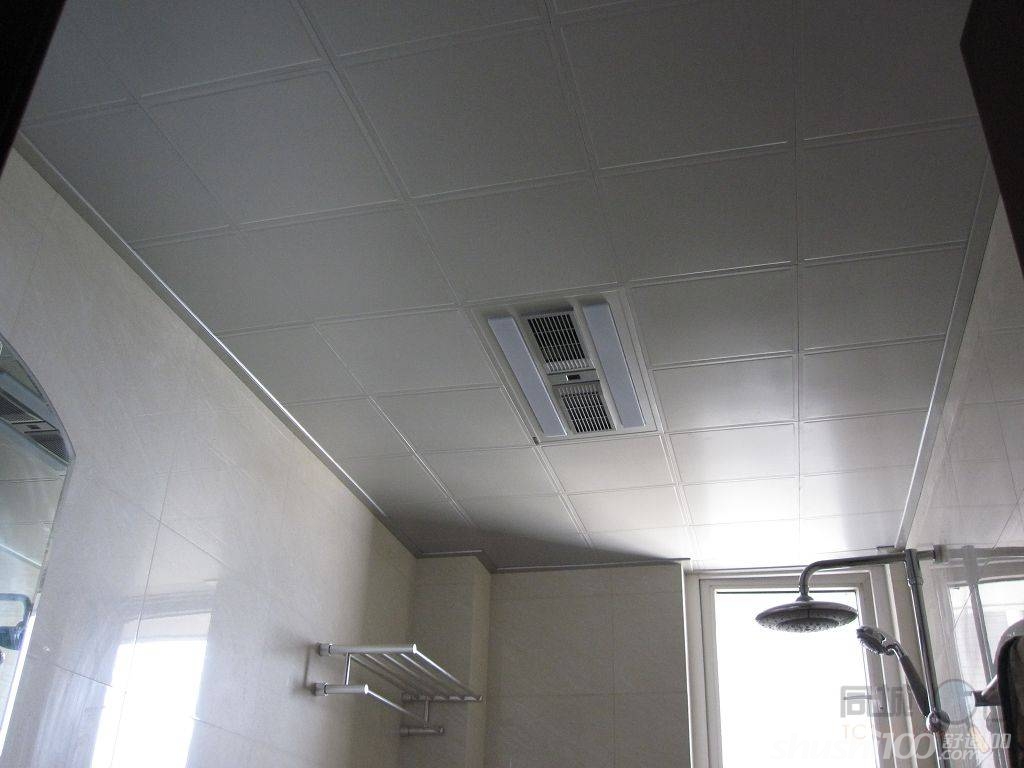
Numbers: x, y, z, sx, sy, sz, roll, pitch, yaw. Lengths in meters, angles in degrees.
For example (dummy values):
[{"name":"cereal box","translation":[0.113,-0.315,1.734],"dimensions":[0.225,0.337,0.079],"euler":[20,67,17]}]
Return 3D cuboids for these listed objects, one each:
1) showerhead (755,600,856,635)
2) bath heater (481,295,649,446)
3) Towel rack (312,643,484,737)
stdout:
[{"name":"showerhead","translation":[1.008,0.800,2.401],"dimensions":[0.263,0.074,0.282],"euler":[5,-32,-5]},{"name":"bath heater","translation":[0.212,-0.026,2.339],"dimensions":[0.426,0.093,0.825],"euler":[-3,-31,16]},{"name":"Towel rack","translation":[-0.457,1.298,2.923],"dimensions":[0.432,0.259,1.078],"euler":[-5,-33,11]}]
